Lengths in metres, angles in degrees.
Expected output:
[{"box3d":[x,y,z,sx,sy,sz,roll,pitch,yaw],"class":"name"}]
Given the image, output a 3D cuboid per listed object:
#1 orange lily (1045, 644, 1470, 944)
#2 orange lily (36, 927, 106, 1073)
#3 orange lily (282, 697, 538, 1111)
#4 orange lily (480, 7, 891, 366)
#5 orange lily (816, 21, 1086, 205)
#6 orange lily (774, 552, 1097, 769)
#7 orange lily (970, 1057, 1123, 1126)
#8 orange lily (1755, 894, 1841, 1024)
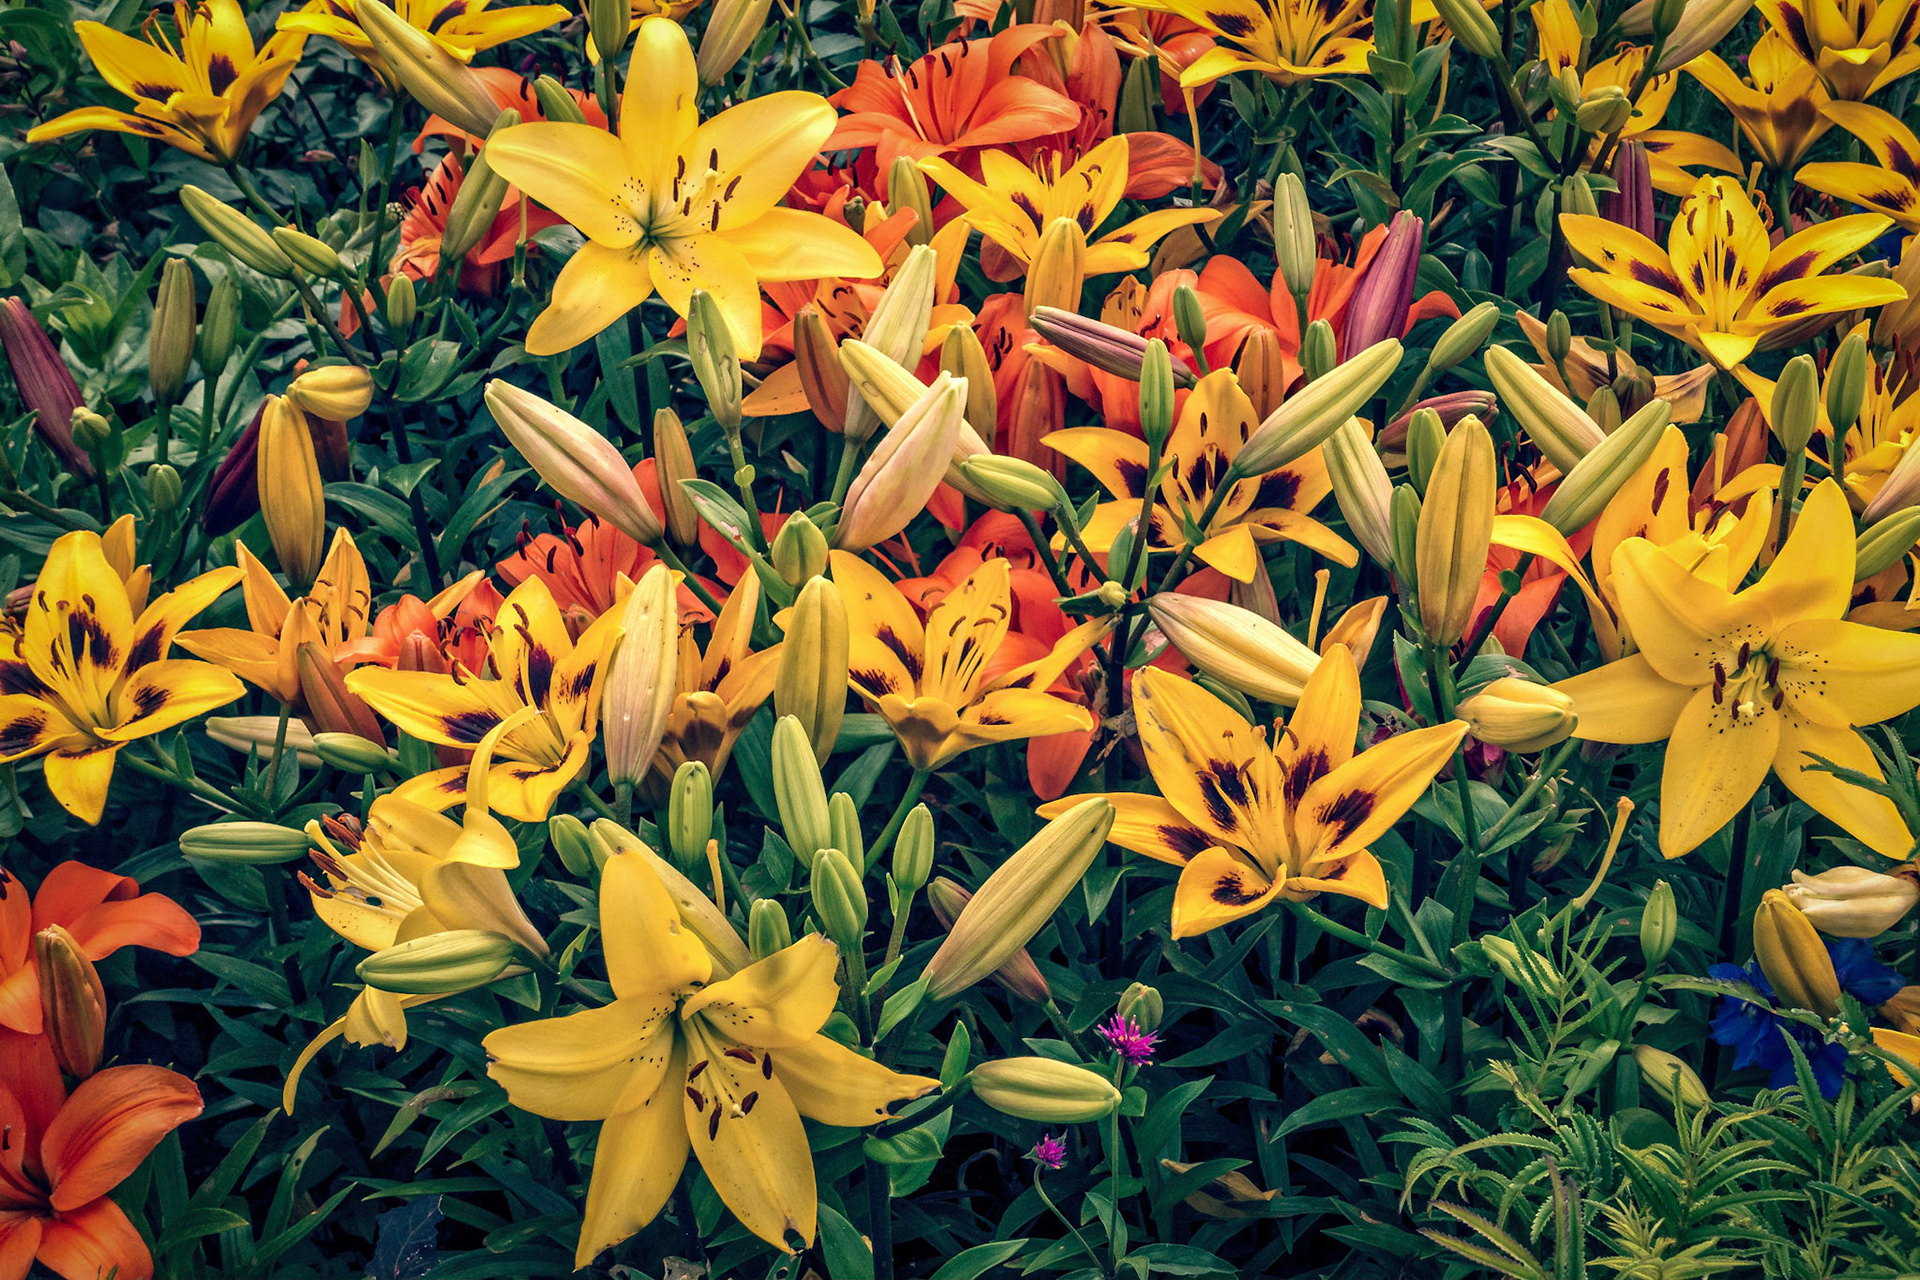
[{"box3d":[0.367,0.192,2.182,0.391,0.252,0.314,0,61,-5],"class":"orange lily"},{"box3d":[-1.091,0.454,2.309,0.068,0.239,0.069,-7,33,-23],"class":"orange lily"},{"box3d":[-0.657,0.304,2.256,0.275,0.261,0.384,-37,49,21],"class":"orange lily"},{"box3d":[-0.357,-0.562,2.550,0.427,0.167,0.484,-22,95,1],"class":"orange lily"},{"box3d":[-0.007,-0.799,2.758,0.349,0.374,0.172,0,90,-14],"class":"orange lily"},{"box3d":[-0.010,0.026,2.268,0.268,0.177,0.270,-20,62,-19],"class":"orange lily"},{"box3d":[0.089,0.486,2.123,0.190,0.074,0.075,9,90,3],"class":"orange lily"},{"box3d":[1.018,0.396,2.280,0.058,0.060,0.187,-25,46,20],"class":"orange lily"}]
